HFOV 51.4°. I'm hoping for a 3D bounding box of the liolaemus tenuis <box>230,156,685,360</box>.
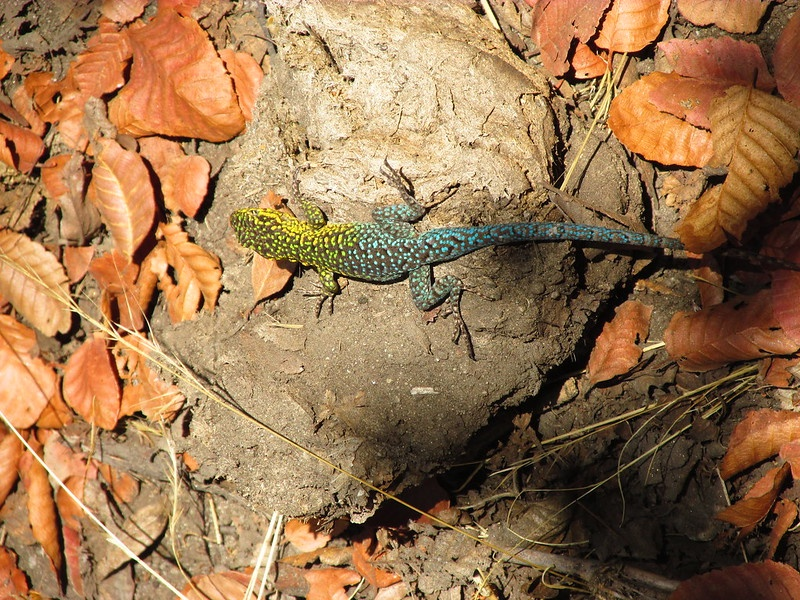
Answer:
[{"bbox_3d":[0.064,-0.405,6.749,3.092,0.718,1.120,4,80,5],"label":"liolaemus tenuis"}]
